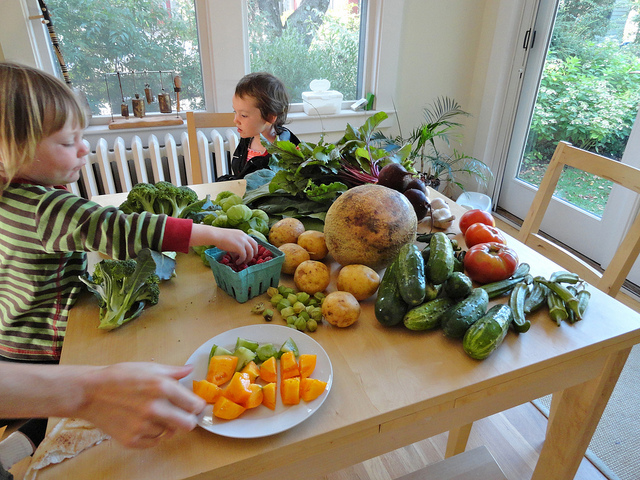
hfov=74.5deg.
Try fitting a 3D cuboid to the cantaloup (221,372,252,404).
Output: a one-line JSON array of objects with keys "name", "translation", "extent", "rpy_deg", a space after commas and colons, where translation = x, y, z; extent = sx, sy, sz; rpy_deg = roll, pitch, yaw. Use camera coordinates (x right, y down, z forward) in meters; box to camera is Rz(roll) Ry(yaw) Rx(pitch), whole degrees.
[{"name": "cantaloup", "translation": [-0.183, 0.330, 0.970], "extent": [0.061, 0.063, 0.064], "rpy_deg": [19, -10, -7]}]

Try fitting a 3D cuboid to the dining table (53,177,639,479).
[{"name": "dining table", "translation": [-0.015, 0.276, 1.453], "extent": [1.103, 1.065, 1.107], "rpy_deg": [-10, 35, -18]}]

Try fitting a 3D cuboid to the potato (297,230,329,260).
[{"name": "potato", "translation": [-0.016, 0.015, 1.391], "extent": [0.083, 0.101, 0.091], "rpy_deg": [0, 24, 6]}]

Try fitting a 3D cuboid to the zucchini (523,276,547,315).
[{"name": "zucchini", "translation": [0.622, 0.161, 1.232], "extent": [0.050, 0.038, 0.138], "rpy_deg": [22, 47, 22]}]

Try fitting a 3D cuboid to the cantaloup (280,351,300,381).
[{"name": "cantaloup", "translation": [-0.073, 0.303, 1.018], "extent": [0.044, 0.051, 0.060], "rpy_deg": [-5, 29, -8]}]

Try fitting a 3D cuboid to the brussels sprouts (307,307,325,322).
[{"name": "brussels sprouts", "translation": [-0.010, 0.206, 1.158], "extent": [0.039, 0.035, 0.031], "rpy_deg": [9, -4, -13]}]

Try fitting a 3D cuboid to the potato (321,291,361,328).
[{"name": "potato", "translation": [0.057, 0.183, 1.124], "extent": [0.096, 0.096, 0.091], "rpy_deg": [1, 21, -1]}]

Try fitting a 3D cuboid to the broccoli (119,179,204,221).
[{"name": "broccoli", "translation": [-0.551, -0.138, 1.454], "extent": [0.180, 0.130, 0.184], "rpy_deg": [-13, 3, 21]}]

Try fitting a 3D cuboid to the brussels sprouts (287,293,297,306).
[{"name": "brussels sprouts", "translation": [-0.078, 0.168, 1.206], "extent": [0.021, 0.028, 0.016], "rpy_deg": [-10, -10, 17]}]

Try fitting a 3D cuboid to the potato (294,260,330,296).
[{"name": "potato", "translation": [-0.023, 0.109, 1.270], "extent": [0.097, 0.099, 0.094], "rpy_deg": [1, 7, 5]}]

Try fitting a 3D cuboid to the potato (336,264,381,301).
[{"name": "potato", "translation": [0.103, 0.121, 1.243], "extent": [0.133, 0.082, 0.108], "rpy_deg": [4, 27, 22]}]

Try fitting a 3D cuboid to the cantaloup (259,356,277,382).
[{"name": "cantaloup", "translation": [-0.121, 0.311, 1.003], "extent": [0.042, 0.057, 0.073], "rpy_deg": [-7, 7, -1]}]

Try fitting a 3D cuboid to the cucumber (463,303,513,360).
[{"name": "cucumber", "translation": [0.442, 0.228, 1.105], "extent": [0.084, 0.083, 0.195], "rpy_deg": [21, 43, 40]}]

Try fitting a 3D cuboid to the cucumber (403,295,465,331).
[{"name": "cucumber", "translation": [0.316, 0.193, 1.167], "extent": [0.204, 0.062, 0.069], "rpy_deg": [-13, 53, -22]}]

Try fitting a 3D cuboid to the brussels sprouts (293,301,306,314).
[{"name": "brussels sprouts", "translation": [-0.056, 0.188, 1.174], "extent": [0.024, 0.026, 0.029], "rpy_deg": [-7, 9, -24]}]

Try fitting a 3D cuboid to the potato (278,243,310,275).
[{"name": "potato", "translation": [-0.080, 0.055, 1.340], "extent": [0.089, 0.091, 0.086], "rpy_deg": [2, 8, 7]}]

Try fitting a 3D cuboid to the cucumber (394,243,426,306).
[{"name": "cucumber", "translation": [0.250, 0.094, 1.180], "extent": [0.085, 0.076, 0.195], "rpy_deg": [-3, 45, 10]}]

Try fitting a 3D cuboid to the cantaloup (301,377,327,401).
[{"name": "cantaloup", "translation": [-0.013, 0.343, 0.965], "extent": [0.059, 0.036, 0.036], "rpy_deg": [0, 29, 1]}]

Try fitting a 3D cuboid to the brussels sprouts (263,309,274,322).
[{"name": "brussels sprouts", "translation": [-0.143, 0.209, 1.168], "extent": [0.028, 0.030, 0.028], "rpy_deg": [-14, 15, -14]}]

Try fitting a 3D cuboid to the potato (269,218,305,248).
[{"name": "potato", "translation": [-0.098, -0.022, 1.446], "extent": [0.151, 0.121, 0.118], "rpy_deg": [-1, 5, 37]}]

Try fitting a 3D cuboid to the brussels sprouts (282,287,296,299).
[{"name": "brussels sprouts", "translation": [-0.096, 0.157, 1.235], "extent": [0.024, 0.023, 0.032], "rpy_deg": [-5, 1, 0]}]

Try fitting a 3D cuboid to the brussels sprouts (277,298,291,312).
[{"name": "brussels sprouts", "translation": [-0.103, 0.182, 1.192], "extent": [0.034, 0.033, 0.027], "rpy_deg": [34, 3, 43]}]

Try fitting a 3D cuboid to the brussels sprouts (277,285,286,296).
[{"name": "brussels sprouts", "translation": [-0.113, 0.147, 1.240], "extent": [0.022, 0.022, 0.030], "rpy_deg": [0, 9, 3]}]

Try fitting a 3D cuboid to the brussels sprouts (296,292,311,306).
[{"name": "brussels sprouts", "translation": [-0.044, 0.168, 1.202], "extent": [0.029, 0.020, 0.036], "rpy_deg": [-10, 19, -37]}]

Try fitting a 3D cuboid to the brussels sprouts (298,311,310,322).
[{"name": "brussels sprouts", "translation": [-0.041, 0.206, 1.151], "extent": [0.024, 0.018, 0.024], "rpy_deg": [22, 36, 29]}]

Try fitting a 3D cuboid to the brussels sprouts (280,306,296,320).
[{"name": "brussels sprouts", "translation": [-0.087, 0.206, 1.177], "extent": [0.035, 0.027, 0.037], "rpy_deg": [-15, 32, -25]}]

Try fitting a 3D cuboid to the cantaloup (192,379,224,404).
[{"name": "cantaloup", "translation": [-0.257, 0.346, 0.957], "extent": [0.080, 0.040, 0.031], "rpy_deg": [9, 30, 15]}]

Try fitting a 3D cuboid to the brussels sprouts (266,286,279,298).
[{"name": "brussels sprouts", "translation": [-0.137, 0.153, 1.240], "extent": [0.024, 0.014, 0.032], "rpy_deg": [-42, 35, -23]}]

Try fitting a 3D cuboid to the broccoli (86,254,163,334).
[{"name": "broccoli", "translation": [-0.525, 0.154, 1.192], "extent": [0.174, 0.160, 0.200], "rpy_deg": [19, 53, 10]}]

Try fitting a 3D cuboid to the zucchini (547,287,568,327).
[{"name": "zucchini", "translation": [0.661, 0.187, 1.184], "extent": [0.031, 0.036, 0.108], "rpy_deg": [-10, 41, 10]}]

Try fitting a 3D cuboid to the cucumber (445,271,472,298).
[{"name": "cucumber", "translation": [0.376, 0.122, 1.154], "extent": [0.052, 0.058, 0.072], "rpy_deg": [3, 11, 7]}]

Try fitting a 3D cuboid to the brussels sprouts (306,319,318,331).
[{"name": "brussels sprouts", "translation": [-0.022, 0.230, 1.137], "extent": [0.026, 0.033, 0.025], "rpy_deg": [5, -7, -21]}]

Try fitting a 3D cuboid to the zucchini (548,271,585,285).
[{"name": "zucchini", "translation": [0.721, 0.112, 1.247], "extent": [0.137, 0.040, 0.045], "rpy_deg": [-2, 8, -16]}]

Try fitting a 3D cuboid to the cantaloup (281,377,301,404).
[{"name": "cantaloup", "translation": [-0.065, 0.343, 0.960], "extent": [0.047, 0.045, 0.048], "rpy_deg": [-4, 18, -4]}]

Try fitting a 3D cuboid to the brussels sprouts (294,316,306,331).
[{"name": "brussels sprouts", "translation": [-0.050, 0.228, 1.137], "extent": [0.027, 0.034, 0.021], "rpy_deg": [-4, -8, -10]}]
